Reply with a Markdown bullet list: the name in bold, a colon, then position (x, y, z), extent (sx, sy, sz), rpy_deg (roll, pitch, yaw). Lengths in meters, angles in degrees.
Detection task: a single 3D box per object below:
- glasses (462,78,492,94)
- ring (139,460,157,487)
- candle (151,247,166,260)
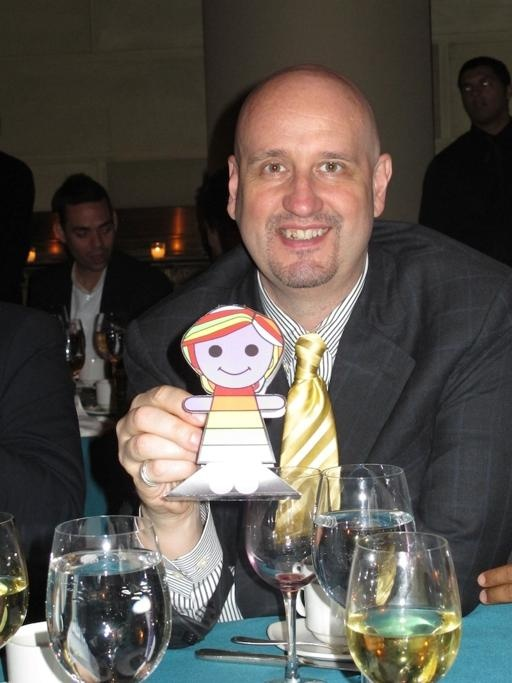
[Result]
- **glasses**: position (1.729, -2.003, 4.589), extent (0.198, 0.073, 0.147), rpy_deg (1, 3, 9)
- **ring**: position (-0.150, 0.184, 0.795), extent (0.014, 0.029, 0.035), rpy_deg (-20, -4, -8)
- **candle**: position (-0.983, -0.886, 5.864), extent (0.147, 0.135, 0.135), rpy_deg (0, 1, -2)
